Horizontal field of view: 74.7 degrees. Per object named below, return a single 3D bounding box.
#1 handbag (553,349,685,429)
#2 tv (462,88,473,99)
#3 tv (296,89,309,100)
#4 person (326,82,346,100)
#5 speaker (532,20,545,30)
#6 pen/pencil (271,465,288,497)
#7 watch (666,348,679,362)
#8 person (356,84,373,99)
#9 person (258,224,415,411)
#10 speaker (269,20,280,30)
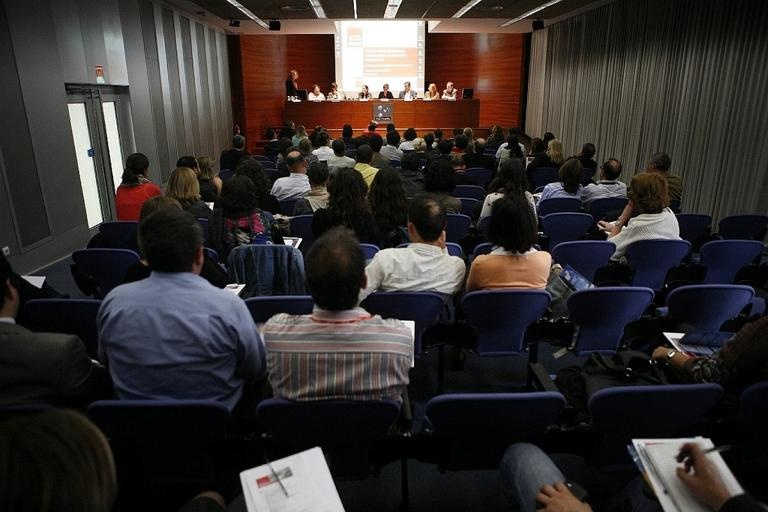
[{"bbox_3d":[1.162,0.635,2.594,0.421,0.138,0.415,-7,16,-8],"label":"handbag"},{"bbox_3d":[2.454,-4.747,14.749,0.279,0.253,0.417,2,19,3],"label":"tv"},{"bbox_3d":[-2.372,-4.733,14.790,0.381,0.378,0.359,-2,23,-1],"label":"tv"},{"bbox_3d":[-1.398,-4.857,14.860,0.565,0.492,1.082,-1,19,-5],"label":"person"},{"bbox_3d":[4.183,-6.289,13.708,0.291,0.218,0.293,7,28,29],"label":"speaker"},{"bbox_3d":[-0.380,0.826,1.840,0.014,0.014,0.128,-45,49,-4],"label":"pen/pencil"},{"bbox_3d":[1.530,0.526,2.682,0.037,0.057,0.060,-2,39,28],"label":"watch"},{"bbox_3d":[-0.558,-4.840,14.878,0.385,0.408,0.993,0,19,-3],"label":"person"},{"bbox_3d":[-0.217,0.271,2.482,0.681,0.939,0.577,-5,31,-10],"label":"person"},{"bbox_3d":[-2.783,-5.970,12.873,0.221,0.300,0.405,-8,29,-15],"label":"speaker"}]
